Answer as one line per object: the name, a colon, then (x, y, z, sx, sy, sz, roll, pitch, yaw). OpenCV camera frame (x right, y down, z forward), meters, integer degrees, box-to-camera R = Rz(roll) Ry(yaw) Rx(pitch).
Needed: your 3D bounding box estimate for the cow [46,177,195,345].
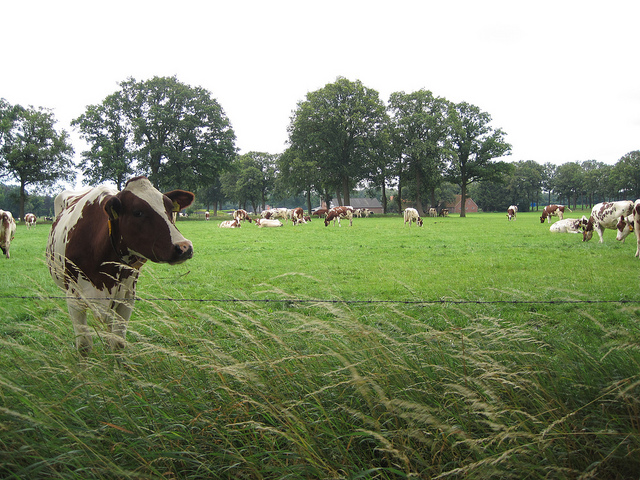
cow: (-2.649, 0.312, 7.162, 1.170, 2.041, 3.405, 0, -1, -41)

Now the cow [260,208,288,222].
cow: (-3.971, -2.028, 47.374, 2.897, 1.634, 1.027, -1, 2, -21)

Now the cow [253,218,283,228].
cow: (-3.047, -0.967, 34.174, 1.630, 0.861, 0.609, 4, 3, -3)

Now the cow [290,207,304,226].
cow: (-1.551, -1.609, 39.665, 0.713, 1.013, 2.186, 1, 3, -3)

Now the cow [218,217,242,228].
cow: (-5.699, -1.008, 36.555, 1.723, 1.000, 0.583, 0, 16, -9)
